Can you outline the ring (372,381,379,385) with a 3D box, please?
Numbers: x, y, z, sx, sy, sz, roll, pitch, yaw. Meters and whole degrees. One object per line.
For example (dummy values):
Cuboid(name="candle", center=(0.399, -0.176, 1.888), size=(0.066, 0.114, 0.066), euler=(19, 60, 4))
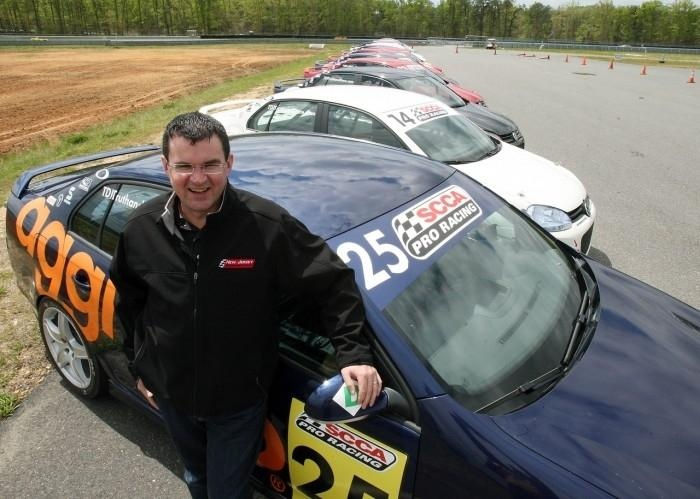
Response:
Cuboid(name="ring", center=(0.113, 0.604, 2.033), size=(0.021, 0.009, 0.022), euler=(0, 2, 0))
